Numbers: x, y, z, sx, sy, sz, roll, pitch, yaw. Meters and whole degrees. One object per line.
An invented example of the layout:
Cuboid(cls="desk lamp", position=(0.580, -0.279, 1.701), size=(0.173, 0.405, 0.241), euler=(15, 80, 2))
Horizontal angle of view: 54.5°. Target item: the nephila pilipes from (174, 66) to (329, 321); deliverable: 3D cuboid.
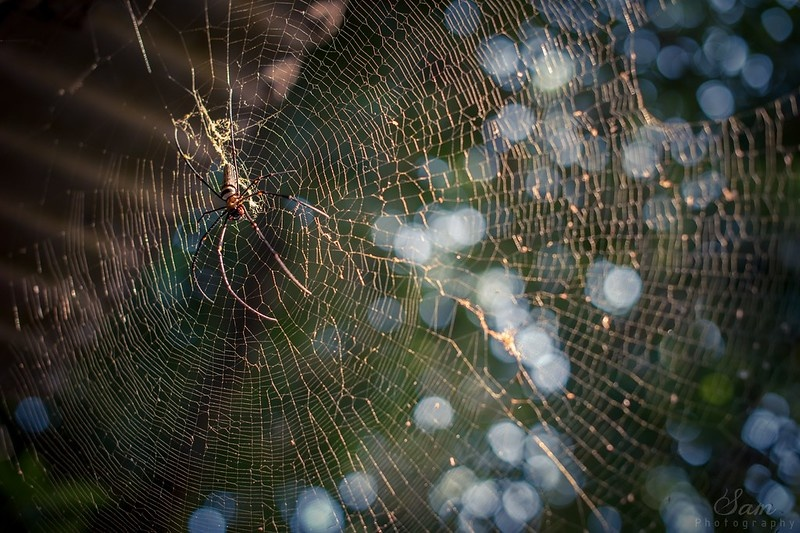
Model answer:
Cuboid(cls="nephila pilipes", position=(-1.860, -0.694, 8.961), size=(2.432, 0.588, 2.478), euler=(-43, -103, 32))
